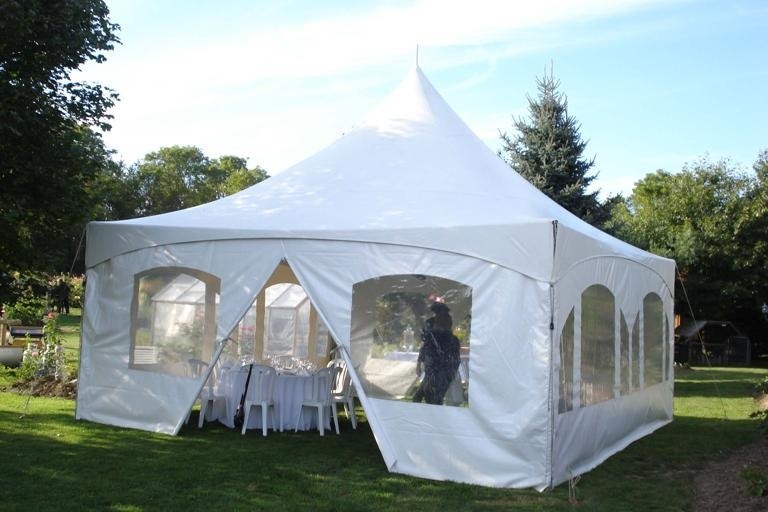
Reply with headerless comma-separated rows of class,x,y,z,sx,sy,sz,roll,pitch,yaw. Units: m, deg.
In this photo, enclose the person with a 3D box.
person,0.969,1.749,11.944,0.816,1.764,0.432,2,6,8
